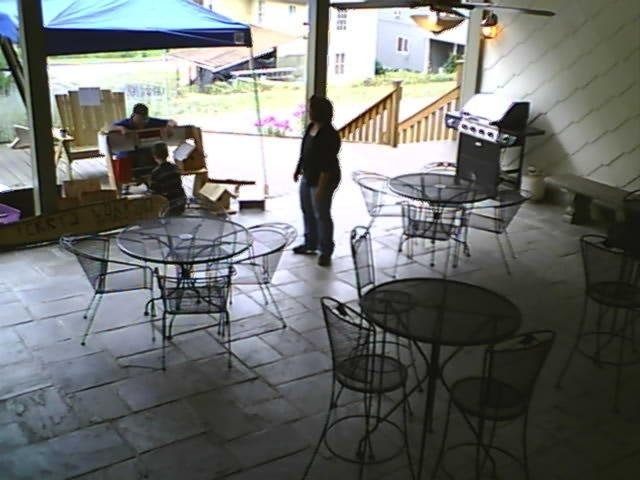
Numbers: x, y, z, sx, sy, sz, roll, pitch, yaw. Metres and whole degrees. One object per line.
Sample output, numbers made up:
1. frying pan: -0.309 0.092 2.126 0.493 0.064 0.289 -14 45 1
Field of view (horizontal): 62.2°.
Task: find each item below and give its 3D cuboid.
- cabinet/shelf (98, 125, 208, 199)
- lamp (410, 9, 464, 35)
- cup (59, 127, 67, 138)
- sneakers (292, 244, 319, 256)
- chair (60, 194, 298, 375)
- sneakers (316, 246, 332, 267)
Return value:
1. cabinet/shelf: -2.465 -1.357 7.830 1.830 1.176 1.028 -8 20 -19
2. lamp: 1.016 -1.859 4.544 0.278 0.107 0.266 9 14 26
3. cup: -3.792 -1.585 7.901 0.146 0.145 0.138 0 3 0
4. sneakers: -0.192 0.129 6.439 0.336 0.130 0.116 6 10 -4
5. chair: -1.288 0.219 4.814 1.688 0.700 1.619 12 24 20
6. sneakers: 0.056 0.206 6.133 0.103 0.108 0.263 10 31 14
